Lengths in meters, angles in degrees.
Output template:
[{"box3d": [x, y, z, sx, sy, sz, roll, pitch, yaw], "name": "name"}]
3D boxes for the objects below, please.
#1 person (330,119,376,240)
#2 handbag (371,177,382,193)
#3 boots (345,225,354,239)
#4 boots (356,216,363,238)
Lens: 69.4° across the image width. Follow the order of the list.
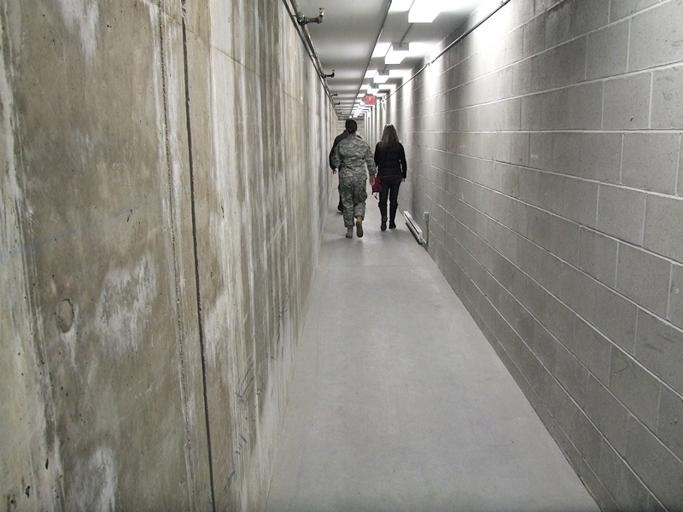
[{"box3d": [0.142, -1.265, 7.849, 0.668, 0.622, 1.808, 19, -55, 31], "name": "person"}, {"box3d": [0.602, -1.188, 8.442, 0.173, 0.260, 0.438, 1, -85, 3], "name": "handbag"}, {"box3d": [0.132, -0.371, 7.707, 0.085, 0.195, 0.205, 1, -68, -1], "name": "boots"}, {"box3d": [0.276, -0.434, 7.567, 0.085, 0.180, 0.307, -3, -93, 0], "name": "boots"}]
